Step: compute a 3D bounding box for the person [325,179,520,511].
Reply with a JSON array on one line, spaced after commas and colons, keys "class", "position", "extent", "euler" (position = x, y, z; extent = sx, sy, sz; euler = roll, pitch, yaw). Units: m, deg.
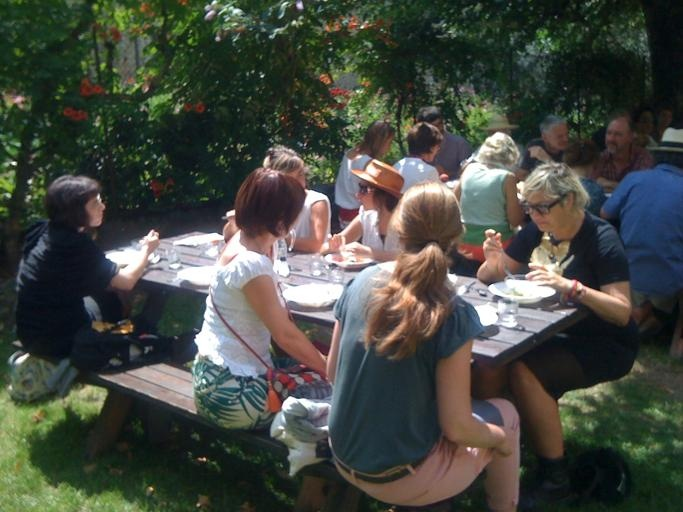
[{"class": "person", "position": [0.434, 0.519, 3.175], "extent": [0.960, 1.768, 0.523], "euler": [3, 3, -1]}]

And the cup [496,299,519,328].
[{"class": "cup", "position": [0.984, 0.347, 3.733], "extent": [0.123, 0.238, 0.150], "euler": [0, -10, 11]}]

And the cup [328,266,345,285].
[{"class": "cup", "position": [-0.042, 0.135, 4.456], "extent": [0.106, 0.194, 0.119], "euler": [1, 2, 13]}]

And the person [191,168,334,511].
[{"class": "person", "position": [-0.459, 0.455, 3.648], "extent": [0.771, 1.925, 0.405], "euler": [2, 3, -16]}]

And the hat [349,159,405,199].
[{"class": "hat", "position": [0.286, -0.556, 4.733], "extent": [0.314, 0.121, 0.275], "euler": [33, 1, -21]}]

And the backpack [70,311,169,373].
[{"class": "backpack", "position": [-1.554, 0.600, 4.374], "extent": [0.321, 0.229, 0.467], "euler": [1, -1, 40]}]

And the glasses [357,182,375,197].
[{"class": "glasses", "position": [0.185, -0.509, 4.805], "extent": [0.086, 0.035, 0.097], "euler": [19, -34, 14]}]
